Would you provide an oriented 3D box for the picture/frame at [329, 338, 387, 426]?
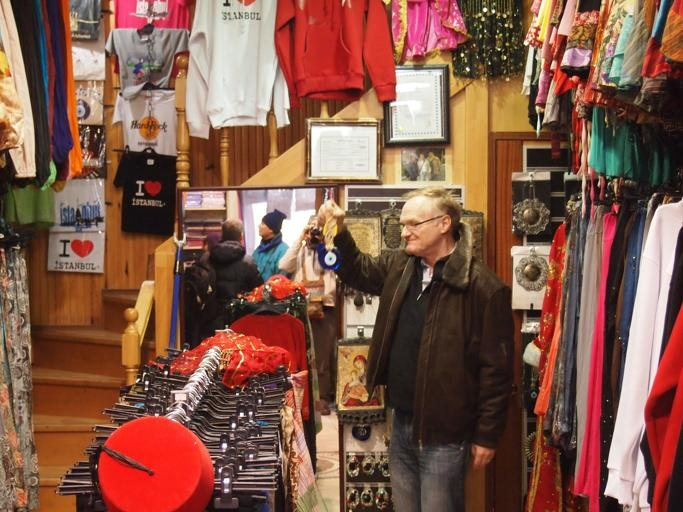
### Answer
[{"bbox_3d":[0.083,0.818,6.951,0.340,0.889,0.397,1,-10,-2],"label":"picture/frame"}]

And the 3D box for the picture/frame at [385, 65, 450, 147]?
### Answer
[{"bbox_3d":[0.491,-0.997,7.195,0.439,0.640,0.052,0,42,7],"label":"picture/frame"}]

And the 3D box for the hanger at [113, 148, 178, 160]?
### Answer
[{"bbox_3d":[-1.680,-0.860,9.173,0.556,0.102,0.191,-1,6,-5],"label":"hanger"}]

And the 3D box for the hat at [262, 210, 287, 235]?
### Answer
[{"bbox_3d":[-0.439,-0.213,7.174,0.113,0.174,0.152,30,12,34],"label":"hat"}]

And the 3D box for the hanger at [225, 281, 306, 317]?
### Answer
[{"bbox_3d":[-0.450,0.279,6.906,0.233,0.168,0.336,0,0,20],"label":"hanger"}]

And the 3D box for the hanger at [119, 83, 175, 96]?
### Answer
[{"bbox_3d":[-1.647,-1.389,9.163,0.453,0.141,0.188,-2,6,-20],"label":"hanger"}]
